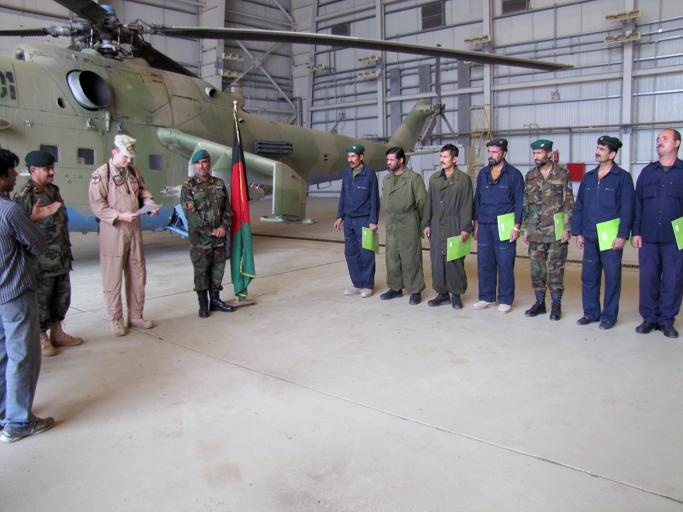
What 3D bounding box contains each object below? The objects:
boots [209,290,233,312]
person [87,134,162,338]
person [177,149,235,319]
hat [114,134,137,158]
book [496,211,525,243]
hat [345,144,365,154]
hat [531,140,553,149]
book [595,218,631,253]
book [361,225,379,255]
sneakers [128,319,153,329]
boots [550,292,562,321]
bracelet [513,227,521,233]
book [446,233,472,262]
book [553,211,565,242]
[{"bbox_3d":[-1.290,0.523,5.929,0.357,0.278,0.149,0,4,-3],"label":"boots"},{"bbox_3d":[-2.120,-0.209,5.259,0.592,1.952,0.566,-4,13,-9],"label":"person"},{"bbox_3d":[-1.417,-0.241,5.717,0.502,1.765,0.330,-5,13,-15],"label":"person"},{"bbox_3d":[-2.094,-1.070,5.139,0.175,0.220,0.236,-7,14,-23],"label":"hat"},{"bbox_3d":[1.766,-0.310,5.494,0.259,0.254,0.060,-10,7,-17],"label":"book"},{"bbox_3d":[0.187,-1.305,6.473,0.215,0.080,0.249,2,16,4],"label":"hat"},{"bbox_3d":[2.093,-1.157,5.472,0.184,0.064,0.150,-11,15,-43],"label":"hat"},{"bbox_3d":[2.538,-0.197,5.030,0.193,0.316,0.120,2,13,14],"label":"book"},{"bbox_3d":[0.340,-0.201,6.372,0.036,0.257,0.346,0,-2,39],"label":"book"},{"bbox_3d":[-2.042,0.695,5.458,0.257,0.113,0.099,0,2,1],"label":"sneakers"},{"bbox_3d":[2.229,0.506,5.470,0.110,0.272,0.194,4,14,22],"label":"boots"},{"bbox_3d":[1.848,-0.274,5.549,0.043,0.015,0.043,24,-34,-16],"label":"bracelet"},{"bbox_3d":[1.303,-0.107,5.912,0.288,0.204,0.031,-15,8,-27],"label":"book"},{"bbox_3d":[2.230,-0.296,5.389,0.115,0.279,0.120,-4,13,-11],"label":"book"}]
